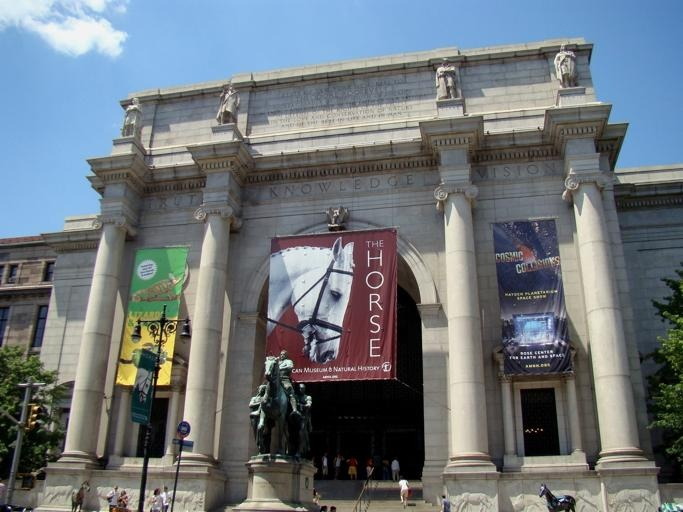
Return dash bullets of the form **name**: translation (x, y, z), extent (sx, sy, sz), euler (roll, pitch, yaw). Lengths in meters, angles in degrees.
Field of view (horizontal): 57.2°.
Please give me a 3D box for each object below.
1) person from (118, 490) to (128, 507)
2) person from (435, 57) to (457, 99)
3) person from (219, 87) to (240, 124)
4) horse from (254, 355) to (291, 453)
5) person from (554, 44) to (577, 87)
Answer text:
- **person**: translation (-10.374, 11.540, 29.783), extent (0.482, 0.803, 1.635), euler (8, -25, -16)
- **person**: translation (5.745, -9.783, 34.811), extent (1.168, 2.617, 0.720), euler (-2, -23, 8)
- **person**: translation (-6.581, -8.839, 36.505), extent (1.279, 2.915, 0.671), euler (1, -32, -2)
- **horse**: translation (-2.817, 6.142, 26.046), extent (1.234, 4.044, 2.154), euler (-2, -24, 7)
- **person**: translation (12.167, -10.263, 33.880), extent (1.056, 2.726, 0.814), euler (-2, -19, 10)
